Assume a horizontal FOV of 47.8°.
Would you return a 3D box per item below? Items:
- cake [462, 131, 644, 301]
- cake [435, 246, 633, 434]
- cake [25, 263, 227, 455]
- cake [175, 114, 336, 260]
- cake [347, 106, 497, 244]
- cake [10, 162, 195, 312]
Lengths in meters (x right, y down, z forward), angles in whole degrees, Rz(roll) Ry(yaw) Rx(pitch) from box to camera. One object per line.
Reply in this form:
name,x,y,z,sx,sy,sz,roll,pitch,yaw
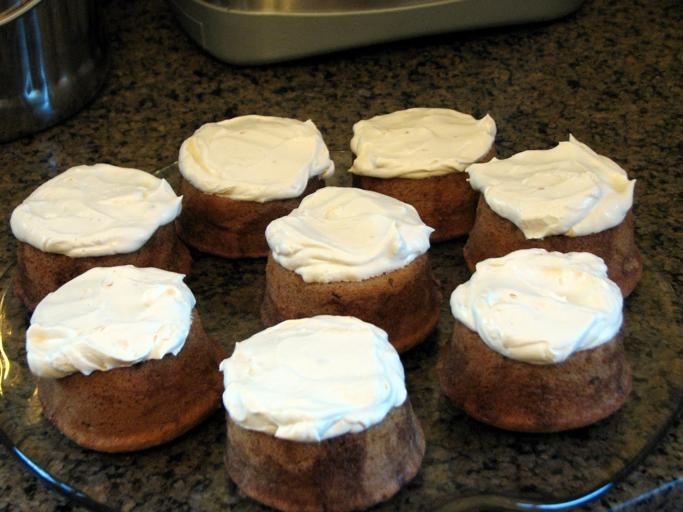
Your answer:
cake,0.560,-0.104,2.049,0.464,0.303,0.449,20,47,25
cake,0.453,0.164,1.792,0.447,0.283,0.445,-1,40,4
cake,-0.500,0.216,1.820,0.450,0.271,0.430,10,36,15
cake,-0.245,-0.226,2.267,0.491,0.278,0.460,-5,37,-9
cake,0.208,-0.253,2.134,0.382,0.242,0.379,7,31,19
cake,-0.605,-0.098,1.968,0.390,0.229,0.383,-15,36,-23
